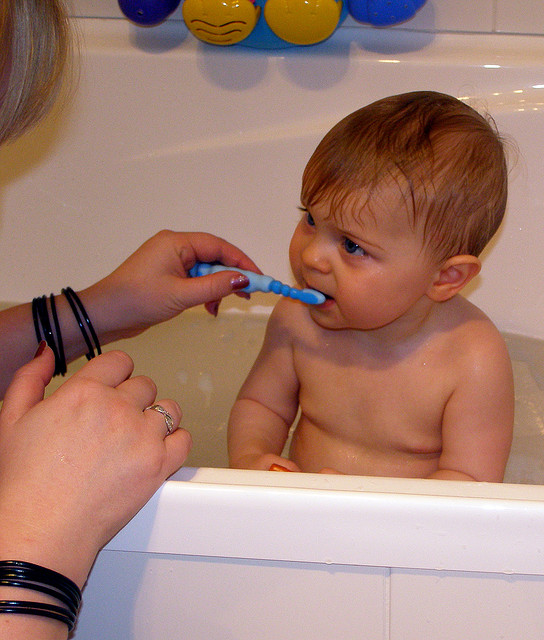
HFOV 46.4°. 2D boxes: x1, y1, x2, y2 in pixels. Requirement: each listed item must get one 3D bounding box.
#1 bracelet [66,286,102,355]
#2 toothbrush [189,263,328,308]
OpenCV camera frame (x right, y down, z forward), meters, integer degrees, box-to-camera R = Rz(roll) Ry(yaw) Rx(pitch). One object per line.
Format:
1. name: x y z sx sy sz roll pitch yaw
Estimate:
1. bracelet: -0.218 -0.003 0.747 0.016 0.069 0.070 -19 55 -9
2. toothbrush: -0.016 -0.042 0.738 0.158 0.033 0.027 13 30 12
